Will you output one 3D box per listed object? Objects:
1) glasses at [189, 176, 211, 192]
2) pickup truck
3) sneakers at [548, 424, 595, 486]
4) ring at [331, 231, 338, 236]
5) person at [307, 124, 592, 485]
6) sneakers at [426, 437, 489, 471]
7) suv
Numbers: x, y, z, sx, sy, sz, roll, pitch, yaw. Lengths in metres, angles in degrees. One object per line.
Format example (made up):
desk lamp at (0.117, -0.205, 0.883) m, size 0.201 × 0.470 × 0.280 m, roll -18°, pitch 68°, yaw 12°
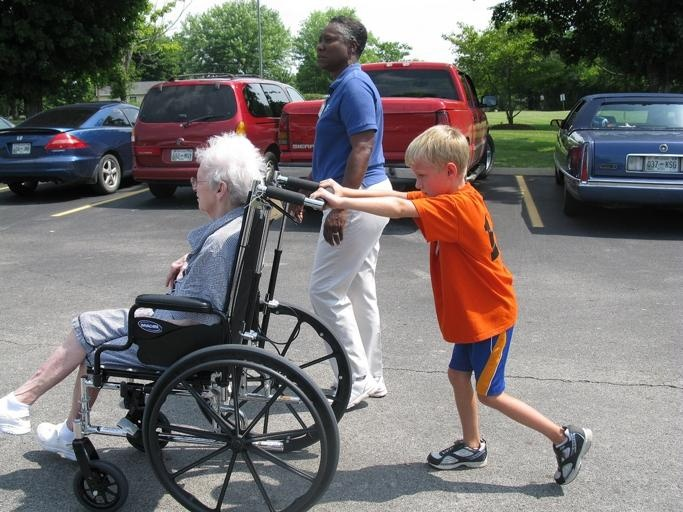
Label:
glasses at (-0.709, -0.353, 3.200) m, size 0.086 × 0.028 × 0.090 m, roll 15°, pitch -6°, yaw 32°
pickup truck at (0.965, -2.332, 11.199) m, size 3.275 × 2.122 × 5.810 m, roll 3°, pitch 14°, yaw 14°
sneakers at (1.200, 1.026, 3.334) m, size 0.190 × 0.376 × 0.132 m, roll 13°, pitch 16°, yaw -7°
ring at (-0.027, -0.129, 3.572) m, size 0.026 × 0.025 × 0.018 m, roll 5°, pitch -2°, yaw -4°
person at (0.616, 0.267, 3.312) m, size 1.278 × 1.877 × 0.482 m, roll -3°, pitch 12°, yaw 1°
sneakers at (0.637, 1.102, 3.518) m, size 0.379 × 0.169 × 0.133 m, roll 2°, pitch -1°, yaw 2°
suv at (-1.918, -2.268, 11.231) m, size 1.910 × 1.433 × 3.463 m, roll 4°, pitch 16°, yaw 18°
